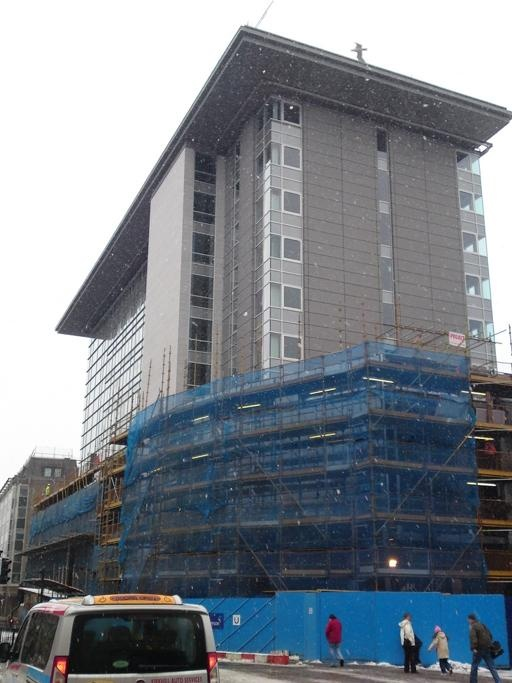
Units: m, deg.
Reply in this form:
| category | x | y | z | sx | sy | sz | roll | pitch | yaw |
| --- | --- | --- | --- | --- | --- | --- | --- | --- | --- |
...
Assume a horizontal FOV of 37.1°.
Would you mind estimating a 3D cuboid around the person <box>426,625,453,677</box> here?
| category | x | y | z | sx | sy | sz | roll | pitch | yaw |
| --- | --- | --- | --- | --- | --- | --- | --- | --- | --- |
| person | 4.817 | 8.107 | 20.027 | 0.483 | 1.135 | 2.136 | -6 | -22 | 12 |

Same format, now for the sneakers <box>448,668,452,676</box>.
| category | x | y | z | sx | sy | sz | roll | pitch | yaw |
| --- | --- | --- | --- | --- | --- | --- | --- | --- | --- |
| sneakers | 4.819 | 8.216 | 18.929 | 0.085 | 0.076 | 0.252 | -28 | -37 | -9 |
